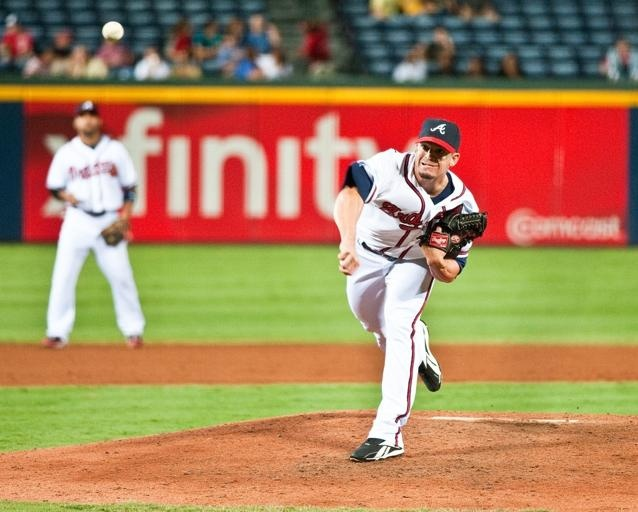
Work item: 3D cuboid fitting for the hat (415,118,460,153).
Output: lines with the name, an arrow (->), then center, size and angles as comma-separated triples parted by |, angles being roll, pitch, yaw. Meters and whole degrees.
hat -> 0.943, -0.875, 8.433 | 0.251, 0.149, 0.309 | 17, -17, 19

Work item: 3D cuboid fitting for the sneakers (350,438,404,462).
sneakers -> 0.441, 1.492, 8.501 | 0.408, 0.122, 0.155 | 0, -3, -20

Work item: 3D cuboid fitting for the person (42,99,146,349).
person -> -2.217, -0.296, 10.766 | 0.960, 2.386, 0.426 | -4, 6, -12

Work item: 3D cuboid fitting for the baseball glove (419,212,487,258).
baseball glove -> 1.028, -0.186, 8.410 | 0.490, 0.305, 0.219 | -25, -9, -4

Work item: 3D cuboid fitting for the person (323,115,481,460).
person -> 0.709, 0.255, 8.544 | 1.041, 2.601, 0.859 | -2, 6, 6
